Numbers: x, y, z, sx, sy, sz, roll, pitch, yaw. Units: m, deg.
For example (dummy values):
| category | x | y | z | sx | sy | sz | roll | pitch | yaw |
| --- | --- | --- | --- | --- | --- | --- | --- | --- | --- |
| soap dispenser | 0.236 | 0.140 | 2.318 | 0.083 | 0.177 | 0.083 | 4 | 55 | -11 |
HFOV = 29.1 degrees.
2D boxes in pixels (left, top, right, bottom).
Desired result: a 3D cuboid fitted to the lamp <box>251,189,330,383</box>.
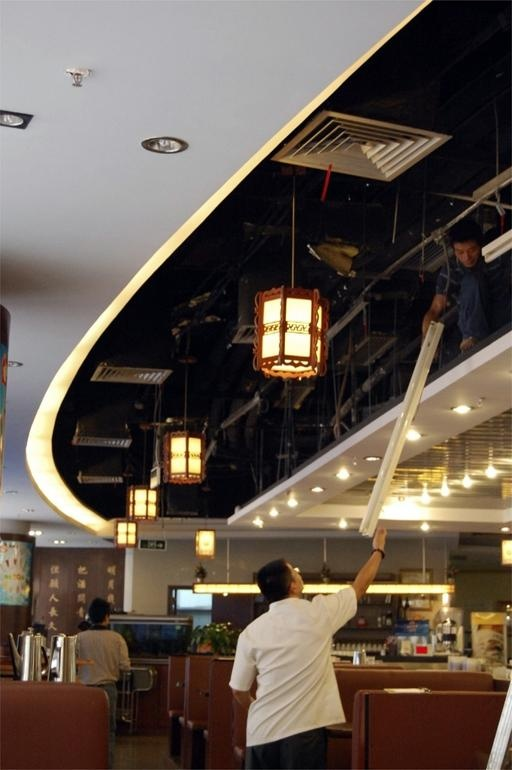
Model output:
| category | x | y | z | sx | sy | sz | roll | pitch | yaw |
| --- | --- | --- | --- | --- | --- | --- | --- | --- | --- |
| lamp | 0.166 | -0.247 | 4.595 | 0.338 | 0.438 | 0.293 | 1 | -11 | 0 |

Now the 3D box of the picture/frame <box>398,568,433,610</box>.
| category | x | y | z | sx | sy | sz | roll | pitch | yaw |
| --- | --- | --- | --- | --- | --- | --- | --- | --- | --- |
| picture/frame | 2.729 | 3.484 | 16.784 | 0.587 | 0.678 | 0.385 | -1 | -11 | 8 |
